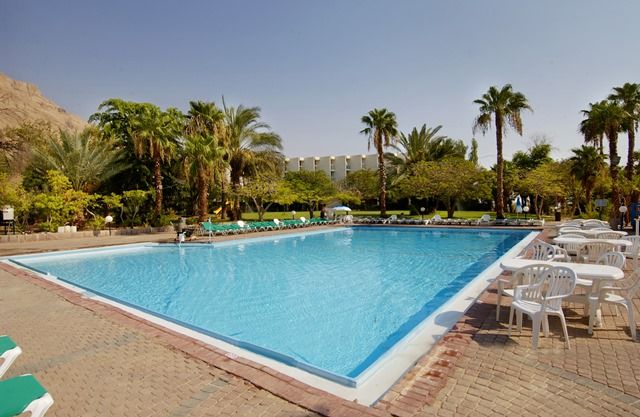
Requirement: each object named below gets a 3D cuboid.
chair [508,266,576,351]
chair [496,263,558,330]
[{"bbox_3d":[6.147,2.686,11.379,1.771,2.178,0.887,-3,1,0],"label":"chair"},{"bbox_3d":[6.108,2.509,12.619,1.730,2.285,1.785,0,-3,-1],"label":"chair"}]
